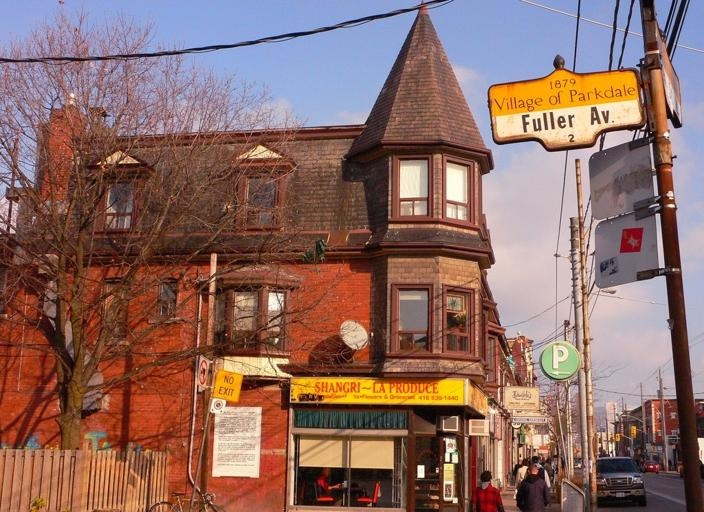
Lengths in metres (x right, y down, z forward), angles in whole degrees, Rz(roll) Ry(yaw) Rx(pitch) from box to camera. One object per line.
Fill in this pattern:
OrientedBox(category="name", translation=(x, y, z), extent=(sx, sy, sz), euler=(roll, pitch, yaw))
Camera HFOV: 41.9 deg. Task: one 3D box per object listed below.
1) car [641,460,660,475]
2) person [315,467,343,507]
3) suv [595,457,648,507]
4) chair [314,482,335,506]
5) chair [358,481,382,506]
OrientedBox(category="car", translation=(27.672, 19.934, 85.398), extent=(1.281, 1.394, 2.591), euler=(1, -3, 7))
OrientedBox(category="person", translation=(-0.815, 7.562, 29.992), extent=(0.929, 1.288, 0.775), euler=(-1, -8, 9))
OrientedBox(category="suv", translation=(10.910, 9.071, 37.803), extent=(1.477, 1.558, 3.124), euler=(-4, -30, 5))
OrientedBox(category="chair", translation=(-0.987, 7.764, 30.218), extent=(0.547, 1.137, 0.670), euler=(1, -16, -7))
OrientedBox(category="chair", translation=(0.602, 7.718, 29.759), extent=(0.571, 0.866, 0.570), euler=(4, -19, -2))
